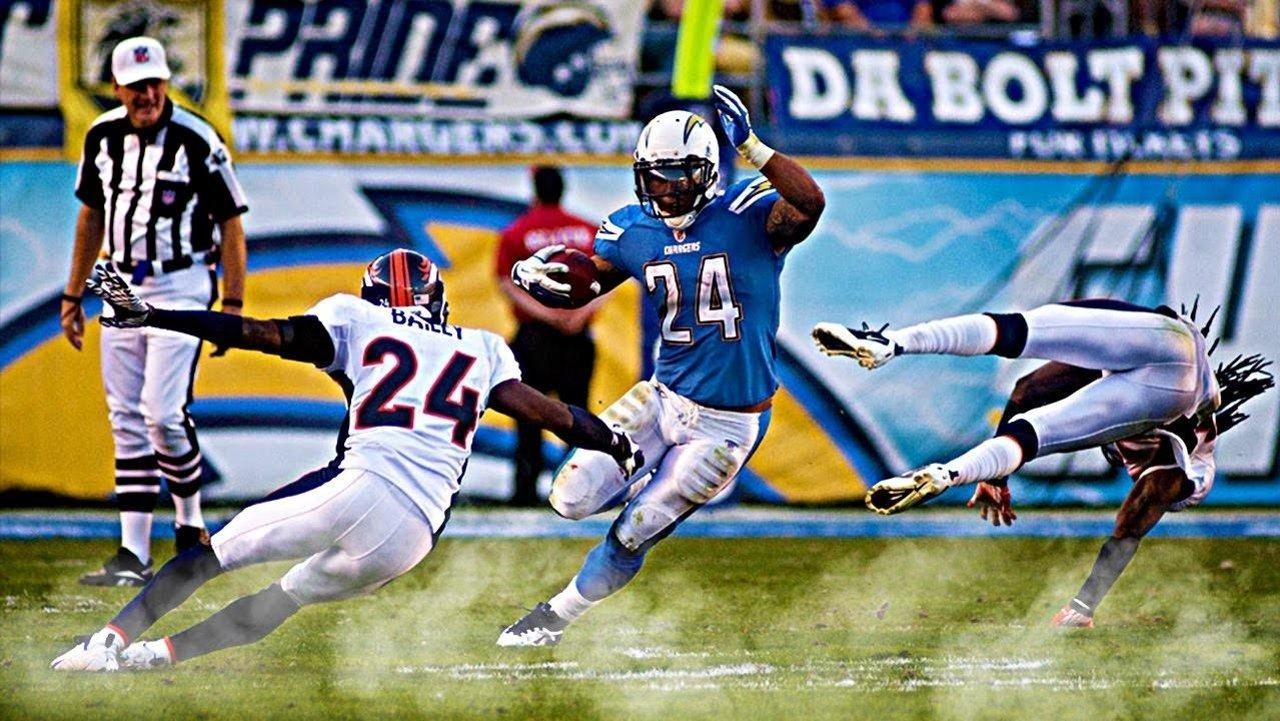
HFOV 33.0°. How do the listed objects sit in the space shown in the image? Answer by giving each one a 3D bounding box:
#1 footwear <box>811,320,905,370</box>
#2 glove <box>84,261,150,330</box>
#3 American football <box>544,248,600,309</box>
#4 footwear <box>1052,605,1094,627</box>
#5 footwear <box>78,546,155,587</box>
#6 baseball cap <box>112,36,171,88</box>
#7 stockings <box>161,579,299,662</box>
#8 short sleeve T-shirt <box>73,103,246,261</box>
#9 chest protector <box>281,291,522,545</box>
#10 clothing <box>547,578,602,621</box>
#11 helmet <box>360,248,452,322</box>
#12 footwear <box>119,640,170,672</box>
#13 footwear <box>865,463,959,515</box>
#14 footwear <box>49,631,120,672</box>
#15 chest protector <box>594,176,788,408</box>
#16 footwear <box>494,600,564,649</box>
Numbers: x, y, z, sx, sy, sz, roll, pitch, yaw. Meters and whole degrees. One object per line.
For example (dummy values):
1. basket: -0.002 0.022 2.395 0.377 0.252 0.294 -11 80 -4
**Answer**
1. footwear: 1.383 -0.138 13.974 0.554 0.199 0.280 24 54 35
2. glove: -3.371 -0.447 13.943 0.349 0.173 0.519 38 -6 1
3. American football: -0.419 -0.555 14.280 0.225 0.388 0.382 -38 45 -23
4. footwear: 2.895 1.689 14.515 0.164 0.099 0.207 4 -4 -36
5. footwear: -3.639 1.415 14.733 0.616 0.257 0.197 2 -2 -6
6. baseball cap: -3.406 -2.084 14.687 0.386 0.236 0.495 -6 27 -16
7. stockings: -2.622 1.686 13.489 1.025 0.261 0.259 -21 -1 6
8. short sleeve T-shirt: -3.330 -1.200 14.805 1.257 0.945 0.585 2 8 5
9. chest protector: -1.627 0.357 14.019 1.749 1.584 0.918 6 -12 -8
10. clothing: -0.437 1.561 14.188 0.267 0.190 0.177 -34 -16 11
11. helmet: -1.515 -0.503 13.680 0.554 0.450 0.389 10 6 -15
12. footwear: -3.072 1.809 13.371 0.288 0.120 0.164 2 27 -11
13. footwear: 1.734 0.837 13.951 0.521 0.187 0.293 -12 0 -21
14. footwear: -3.411 1.771 13.328 0.317 0.121 0.301 -28 46 -33
15. chest protector: 0.412 -0.498 14.391 1.833 1.491 0.697 2 15 37
16. footwear: -0.706 1.718 14.085 0.554 0.228 0.194 -9 18 -29
